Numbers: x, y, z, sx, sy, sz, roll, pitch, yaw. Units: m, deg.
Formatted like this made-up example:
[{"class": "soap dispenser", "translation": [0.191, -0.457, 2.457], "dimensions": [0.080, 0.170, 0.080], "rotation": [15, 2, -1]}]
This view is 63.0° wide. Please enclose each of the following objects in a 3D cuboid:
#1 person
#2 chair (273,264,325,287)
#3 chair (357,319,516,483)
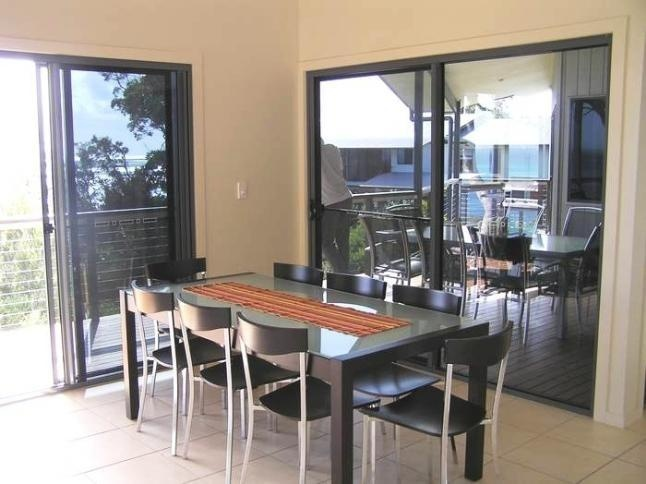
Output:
[{"class": "person", "translation": [0.088, -0.403, 5.668], "dimensions": [0.332, 1.447, 0.173], "rotation": [-16, 24, -26]}, {"class": "chair", "translation": [-0.192, 0.218, 4.356], "dimensions": [0.240, 0.188, 0.245], "rotation": [8, 11, 37]}, {"class": "chair", "translation": [0.640, 0.968, 3.069], "dimensions": [0.825, 1.030, 0.661], "rotation": [2, 10, 29]}]
